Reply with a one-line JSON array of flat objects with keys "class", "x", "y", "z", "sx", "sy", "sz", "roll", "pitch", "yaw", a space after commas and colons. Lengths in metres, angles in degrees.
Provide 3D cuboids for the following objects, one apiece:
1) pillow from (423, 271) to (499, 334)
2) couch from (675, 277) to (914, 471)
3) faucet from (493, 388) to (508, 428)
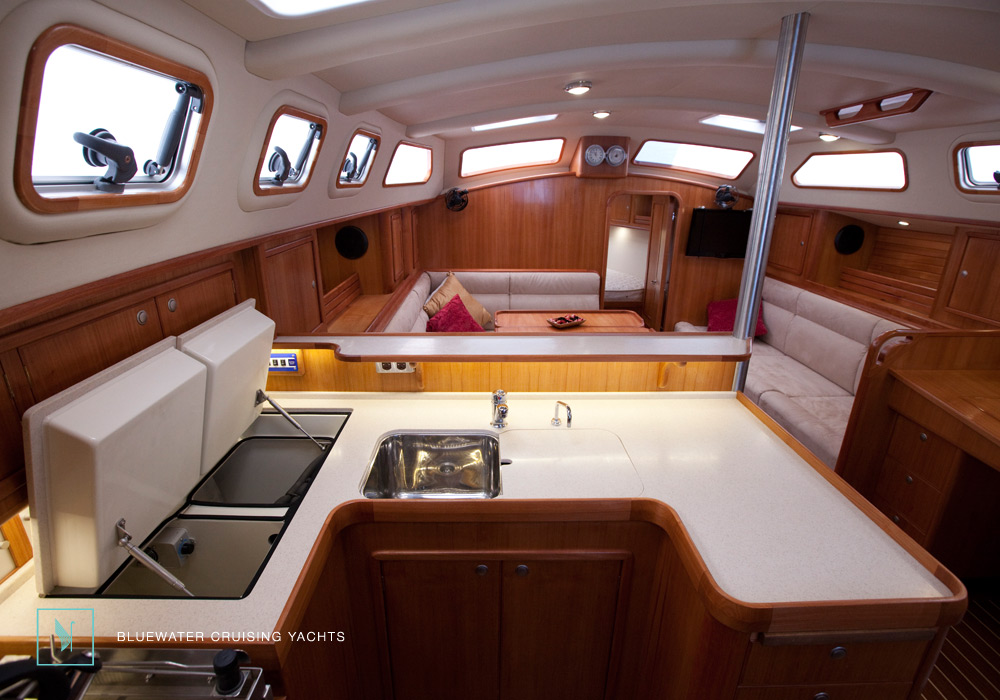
[{"class": "pillow", "x": -0.340, "y": -0.384, "z": 5.490, "sx": 0.533, "sy": 0.492, "sz": 1.213, "roll": 4, "pitch": 14, "yaw": 9}, {"class": "couch", "x": 2.376, "y": 0.074, "z": 5.078, "sx": 1.027, "sy": 1.094, "sz": 2.597, "roll": -6, "pitch": 20, "yaw": -7}, {"class": "faucet", "x": 0.008, "y": 0.280, "z": 3.034, "sx": 0.071, "sy": 0.171, "sz": 0.150, "roll": 2, "pitch": 14, "yaw": -1}]
